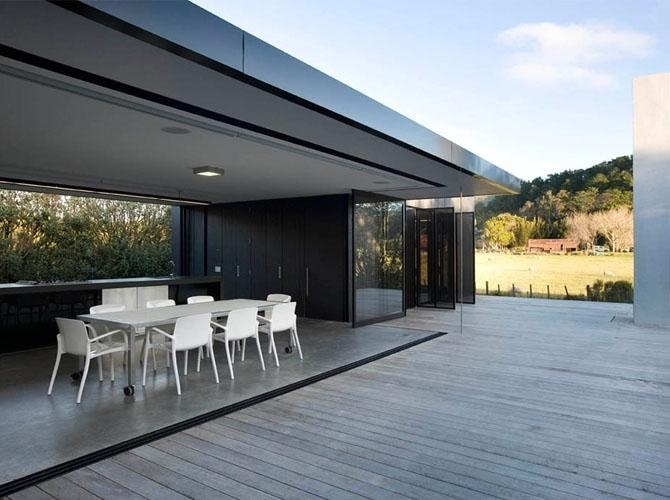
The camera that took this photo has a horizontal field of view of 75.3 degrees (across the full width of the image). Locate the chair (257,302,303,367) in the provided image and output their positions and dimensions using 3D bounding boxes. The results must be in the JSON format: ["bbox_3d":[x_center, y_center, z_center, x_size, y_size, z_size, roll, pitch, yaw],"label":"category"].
[{"bbox_3d":[-0.901,1.250,6.694,0.625,0.933,0.646,0,2,27],"label":"chair"}]

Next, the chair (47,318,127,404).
[{"bbox_3d":[-3.085,1.276,5.406,0.659,0.904,0.752,4,2,30],"label":"chair"}]

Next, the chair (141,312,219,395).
[{"bbox_3d":[-1.932,1.206,5.994,0.926,1.469,1.004,-1,-3,33],"label":"chair"}]

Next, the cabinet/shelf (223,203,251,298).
[{"bbox_3d":[-2.608,0.017,11.530,1.131,2.460,0.353,4,6,41],"label":"cabinet/shelf"}]
